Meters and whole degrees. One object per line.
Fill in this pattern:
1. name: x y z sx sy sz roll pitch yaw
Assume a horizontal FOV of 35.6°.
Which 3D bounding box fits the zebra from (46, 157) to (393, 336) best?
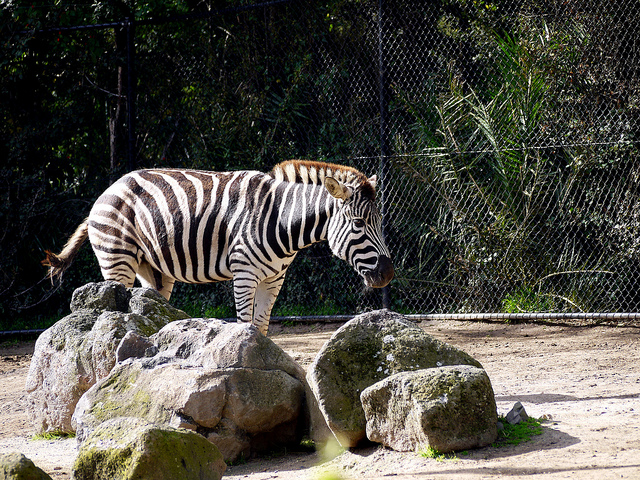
1. zebra: -1.176 0.185 10.800 3.622 2.318 1.136 1 14 9
